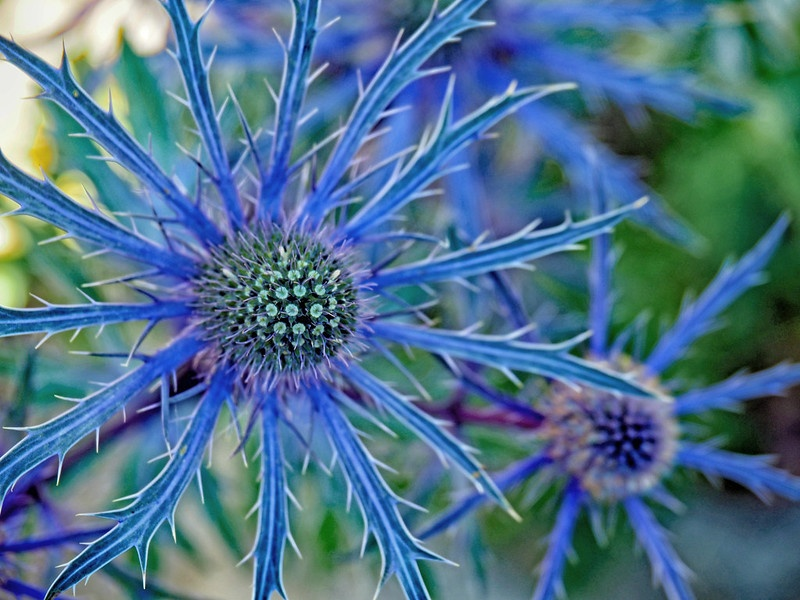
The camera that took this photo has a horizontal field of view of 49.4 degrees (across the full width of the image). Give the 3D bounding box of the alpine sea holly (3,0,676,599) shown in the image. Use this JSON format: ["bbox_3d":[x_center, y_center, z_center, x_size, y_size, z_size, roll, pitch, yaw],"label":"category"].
[{"bbox_3d":[-0.273,0.003,2.216,1.531,0.432,1.505,11,-84,-1],"label":"alpine sea holly"}]
